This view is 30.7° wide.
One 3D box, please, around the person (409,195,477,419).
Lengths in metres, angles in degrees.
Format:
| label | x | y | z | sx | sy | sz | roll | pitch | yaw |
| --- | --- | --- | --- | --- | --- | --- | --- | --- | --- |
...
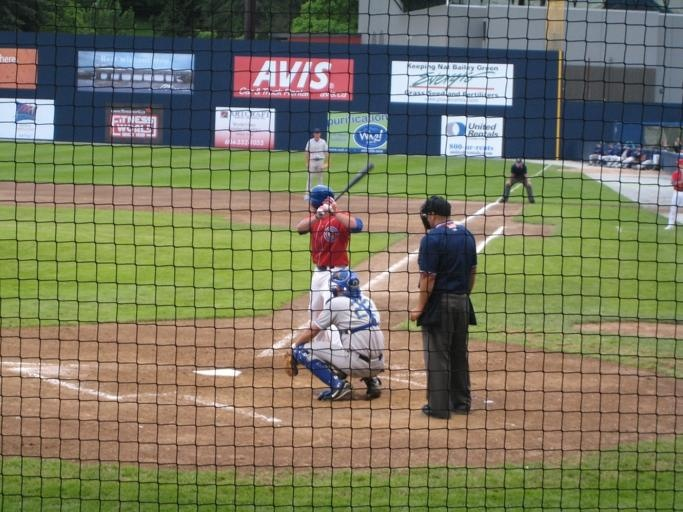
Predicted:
| label | x | y | z | sx | sy | sz | roll | pitch | yaw |
| --- | --- | --- | --- | --- | --- | --- | --- | --- | --- |
| person | 1.837 | 0.904 | 21.797 | 1.132 | 3.860 | 0.498 | 4 | 4 | 4 |

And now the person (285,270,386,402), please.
| label | x | y | z | sx | sy | sz | roll | pitch | yaw |
| --- | --- | --- | --- | --- | --- | --- | --- | --- | --- |
| person | 0.005 | 1.421 | 22.196 | 1.577 | 2.291 | 0.504 | 4 | 4 | 1 |

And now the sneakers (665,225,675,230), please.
| label | x | y | z | sx | sy | sz | roll | pitch | yaw |
| --- | --- | --- | --- | --- | --- | --- | --- | --- | --- |
| sneakers | 8.795 | -0.766 | 33.130 | 0.135 | 0.154 | 0.392 | 0 | 5 | -18 |

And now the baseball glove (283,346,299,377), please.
| label | x | y | z | sx | sy | sz | roll | pitch | yaw |
| --- | --- | --- | --- | --- | --- | --- | --- | --- | --- |
| baseball glove | -0.885 | 1.893 | 22.242 | 0.244 | 0.480 | 0.218 | -4 | -8 | 5 |

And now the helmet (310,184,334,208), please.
| label | x | y | z | sx | sy | sz | roll | pitch | yaw |
| --- | --- | --- | --- | --- | --- | --- | --- | --- | --- |
| helmet | -0.362 | -1.105 | 22.761 | 0.476 | 0.354 | 0.337 | 0 | 7 | 12 |
